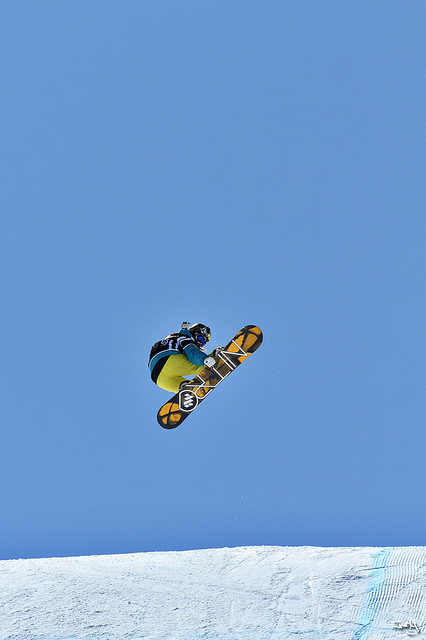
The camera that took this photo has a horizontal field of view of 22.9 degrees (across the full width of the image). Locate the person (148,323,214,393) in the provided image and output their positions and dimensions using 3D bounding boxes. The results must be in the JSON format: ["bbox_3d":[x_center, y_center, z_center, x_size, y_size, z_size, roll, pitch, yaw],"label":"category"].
[{"bbox_3d":[-0.506,0.603,17.125,0.847,1.620,1.021,-4,3,-20],"label":"person"}]

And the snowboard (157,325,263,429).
[{"bbox_3d":[-0.219,0.744,16.411,2.042,0.489,0.281,-47,-30,7],"label":"snowboard"}]
